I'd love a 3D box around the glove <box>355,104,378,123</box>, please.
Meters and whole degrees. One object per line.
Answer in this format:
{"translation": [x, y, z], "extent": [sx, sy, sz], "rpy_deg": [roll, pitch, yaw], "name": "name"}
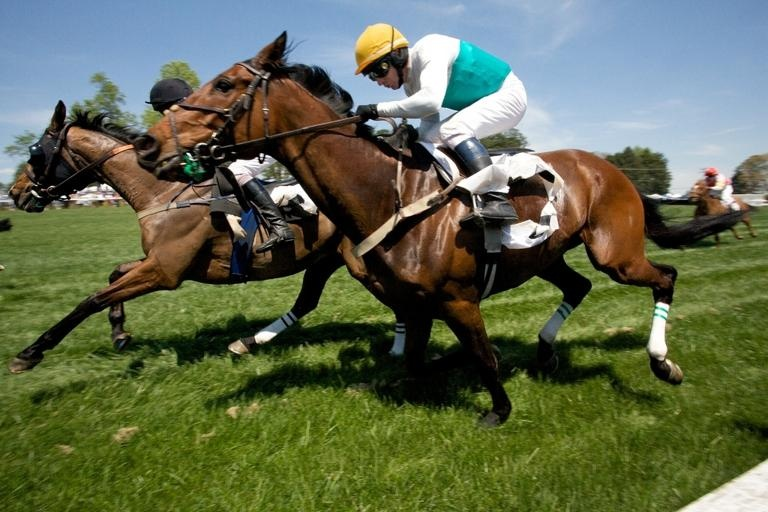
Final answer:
{"translation": [-0.133, -1.149, 4.027], "extent": [0.180, 0.123, 0.124], "rpy_deg": [-3, 12, -1], "name": "glove"}
